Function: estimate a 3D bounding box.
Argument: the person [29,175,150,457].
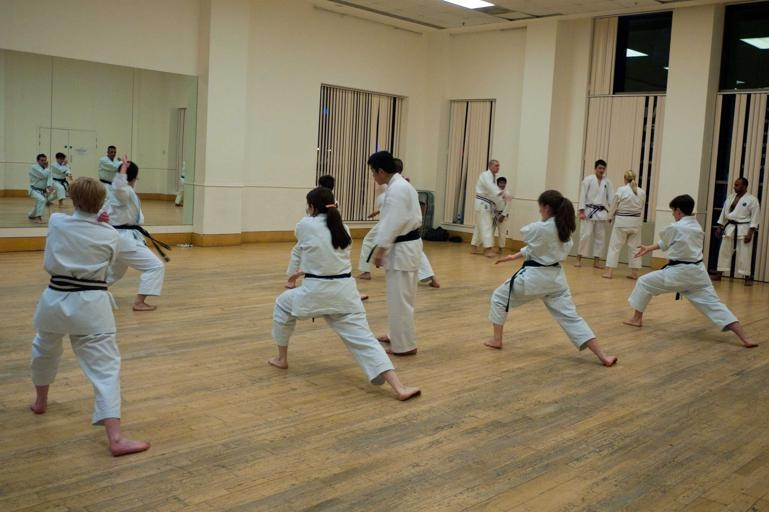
[{"bbox_3d":[-1.771,0.320,3.008,0.917,1.550,0.396,11,14,34],"label":"person"}]

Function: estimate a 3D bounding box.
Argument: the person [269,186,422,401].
[{"bbox_3d":[-0.380,0.255,3.826,1.252,1.497,0.383,9,13,29],"label":"person"}]

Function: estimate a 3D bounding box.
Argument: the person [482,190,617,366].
[{"bbox_3d":[1.516,0.184,4.633,1.041,1.535,0.254,5,12,11],"label":"person"}]

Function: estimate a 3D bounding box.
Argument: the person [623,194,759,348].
[{"bbox_3d":[3.296,0.063,5.437,1.056,1.382,0.259,7,12,20],"label":"person"}]
